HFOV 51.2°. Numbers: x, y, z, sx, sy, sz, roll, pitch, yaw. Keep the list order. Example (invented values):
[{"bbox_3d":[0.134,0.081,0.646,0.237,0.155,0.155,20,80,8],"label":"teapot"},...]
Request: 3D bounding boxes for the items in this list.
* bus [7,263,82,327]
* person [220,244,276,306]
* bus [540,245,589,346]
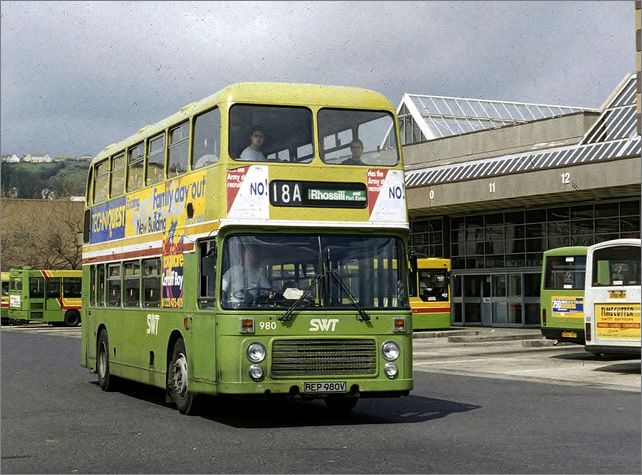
[{"bbox_3d":[-17.951,3.922,43.456,4.568,3.763,2.596,1,-1,-9],"label":"bus"},{"bbox_3d":[-1.088,0.367,9.905,0.871,1.004,0.505,-4,25,-8],"label":"person"},{"bbox_3d":[8.165,1.910,22.504,1.389,3.161,1.798,0,-1,20],"label":"bus"}]
